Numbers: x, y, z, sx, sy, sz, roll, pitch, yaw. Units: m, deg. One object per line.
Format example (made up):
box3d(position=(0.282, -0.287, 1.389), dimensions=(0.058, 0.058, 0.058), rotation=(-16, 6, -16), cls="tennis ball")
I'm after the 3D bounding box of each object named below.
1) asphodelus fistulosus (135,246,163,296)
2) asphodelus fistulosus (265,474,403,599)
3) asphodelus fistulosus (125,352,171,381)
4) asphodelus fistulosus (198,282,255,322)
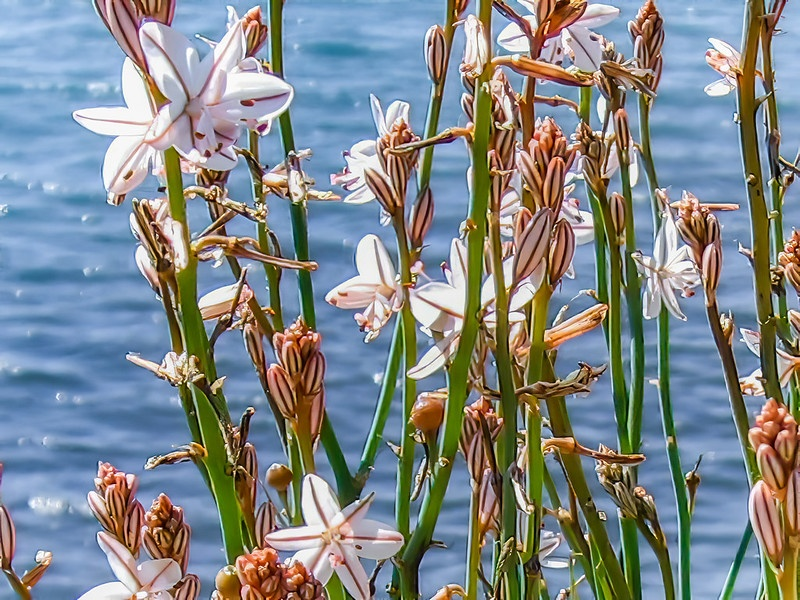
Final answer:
box3d(position=(-0.390, -0.050, 3.754), dimensions=(0.020, 0.103, 0.026), rotation=(-16, -9, -24), cls="asphodelus fistulosus")
box3d(position=(-0.101, 0.347, 3.529), dimensions=(0.199, 0.217, 0.084), rotation=(1, 6, 2), cls="asphodelus fistulosus")
box3d(position=(-0.422, 0.107, 4.023), dimensions=(0.080, 0.024, 0.025), rotation=(32, 69, 27), cls="asphodelus fistulosus")
box3d(position=(-0.255, -0.004, 3.544), dimensions=(0.067, 0.022, 0.051), rotation=(-25, 19, -10), cls="asphodelus fistulosus")
